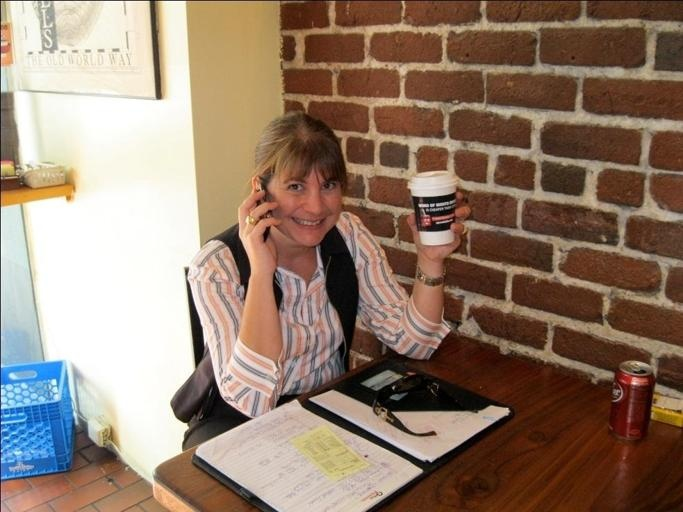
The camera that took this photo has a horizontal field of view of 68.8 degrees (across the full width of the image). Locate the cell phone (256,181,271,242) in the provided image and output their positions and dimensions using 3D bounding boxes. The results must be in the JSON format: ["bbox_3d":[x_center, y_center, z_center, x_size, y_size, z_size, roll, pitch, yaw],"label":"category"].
[{"bbox_3d":[-0.217,-0.126,1.418,0.040,0.162,0.044,1,10,1],"label":"cell phone"}]

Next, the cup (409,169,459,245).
[{"bbox_3d":[0.238,-0.124,1.285,0.126,0.195,0.074,-4,21,3],"label":"cup"}]

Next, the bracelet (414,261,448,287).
[{"bbox_3d":[0.272,0.057,1.539,0.070,0.036,0.071,0,26,4],"label":"bracelet"}]

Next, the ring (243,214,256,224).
[{"bbox_3d":[-0.251,-0.106,1.378,0.022,0.028,0.011,25,13,14],"label":"ring"}]
